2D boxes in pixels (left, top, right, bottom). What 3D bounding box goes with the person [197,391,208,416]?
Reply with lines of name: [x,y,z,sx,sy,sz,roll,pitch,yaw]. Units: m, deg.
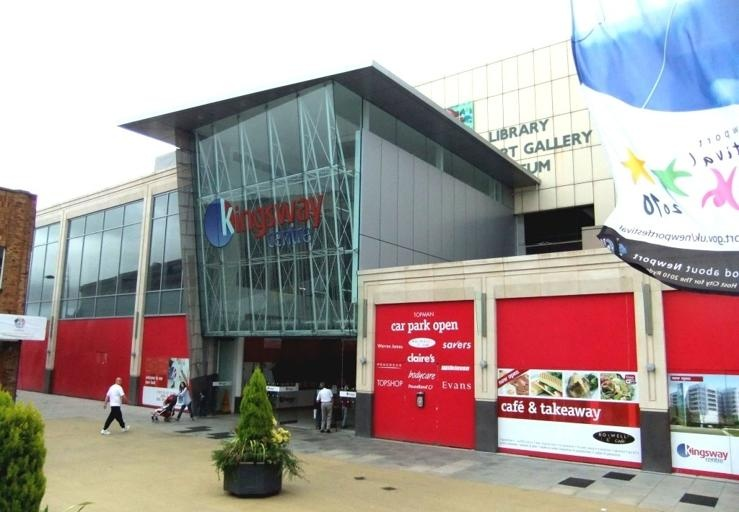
person: [-8.228,7.228,27.386,0.264,1.159,0.558,-5,-12,19]
